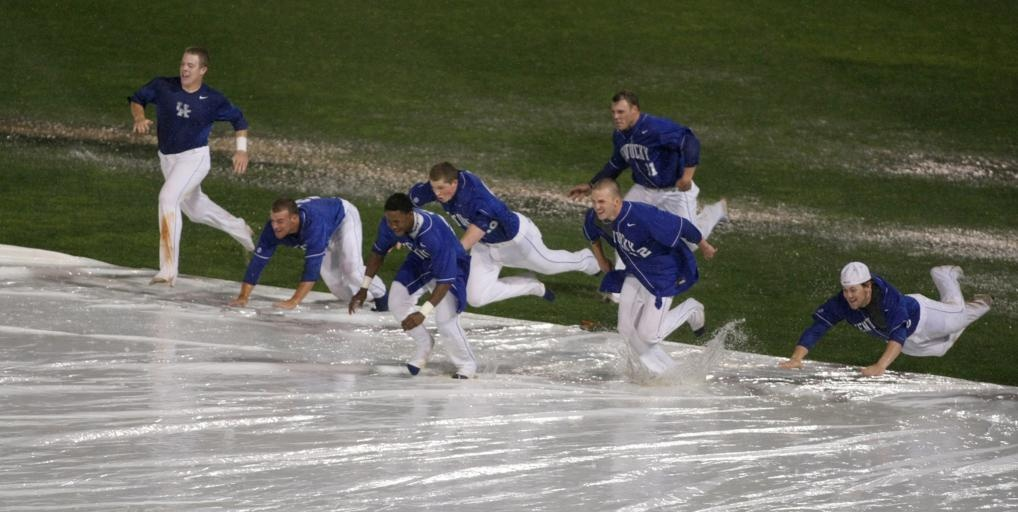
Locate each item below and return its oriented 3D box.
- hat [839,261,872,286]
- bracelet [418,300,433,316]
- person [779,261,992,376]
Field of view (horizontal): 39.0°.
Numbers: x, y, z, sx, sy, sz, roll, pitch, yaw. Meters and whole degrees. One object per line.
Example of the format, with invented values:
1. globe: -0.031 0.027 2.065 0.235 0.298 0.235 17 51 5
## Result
1. hat: 4.695 0.252 19.418 0.361 0.194 0.450 8 24 40
2. bracelet: -1.098 0.686 19.002 0.201 0.209 0.257 7 12 -3
3. person: 5.438 0.784 19.796 3.322 0.935 1.481 -4 2 -36
